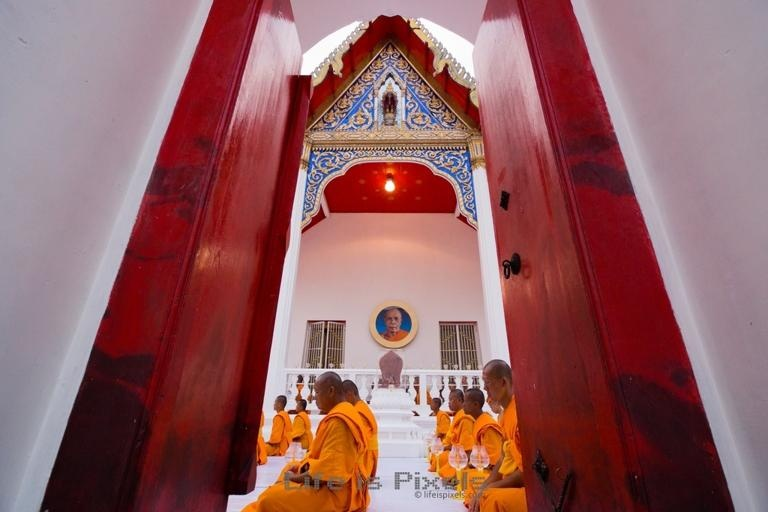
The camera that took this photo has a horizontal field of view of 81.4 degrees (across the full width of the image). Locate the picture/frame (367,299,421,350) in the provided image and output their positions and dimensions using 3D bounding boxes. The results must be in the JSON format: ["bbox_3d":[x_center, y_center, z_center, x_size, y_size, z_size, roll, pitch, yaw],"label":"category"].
[{"bbox_3d":[0.162,1.149,7.277,0.771,0.858,0.091,-1,-39,-4],"label":"picture/frame"}]

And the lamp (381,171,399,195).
[{"bbox_3d":[0.100,-0.919,6.142,0.208,0.476,0.229,13,-58,-7],"label":"lamp"}]
